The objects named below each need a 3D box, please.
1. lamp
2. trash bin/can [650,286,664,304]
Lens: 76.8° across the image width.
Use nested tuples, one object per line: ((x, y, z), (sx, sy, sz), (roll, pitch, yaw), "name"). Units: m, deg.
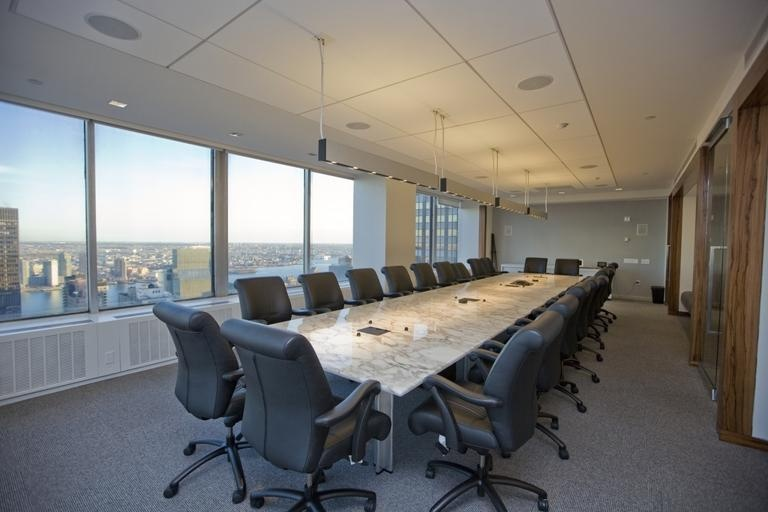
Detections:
((0.550, -1.512, 7.161), (1.333, 1.452, 5.241), (-1, 1, 30), "lamp")
((6.450, 0.931, 11.332), (0.351, 0.403, 0.343), (2, 0, -12), "trash bin/can")
